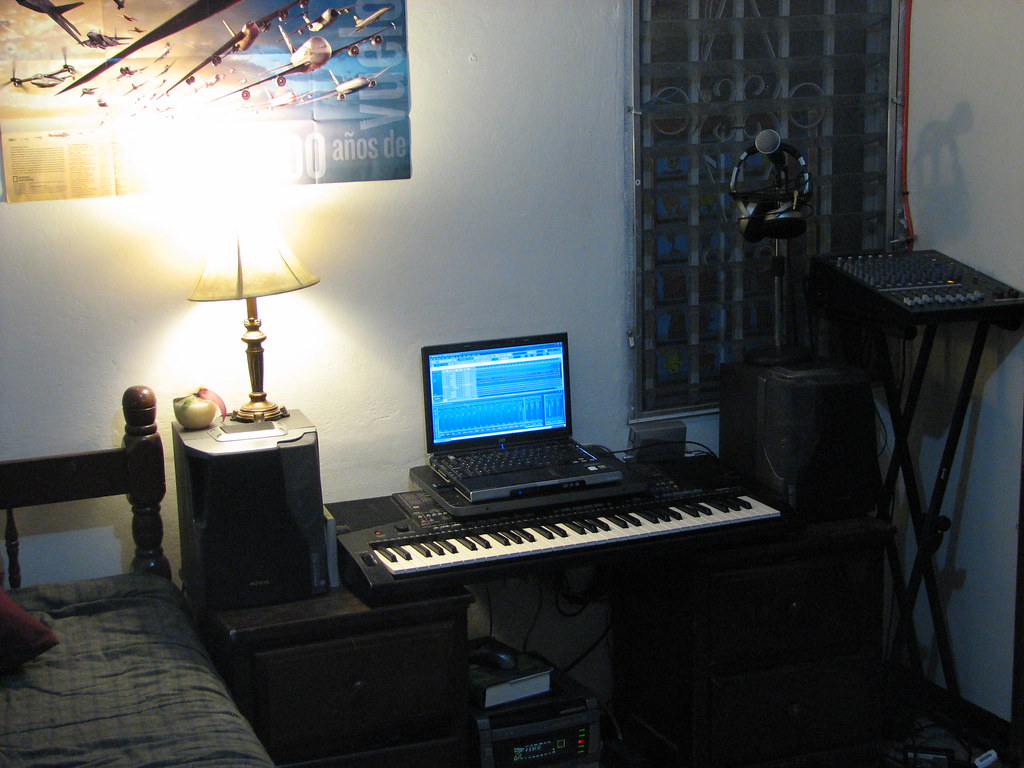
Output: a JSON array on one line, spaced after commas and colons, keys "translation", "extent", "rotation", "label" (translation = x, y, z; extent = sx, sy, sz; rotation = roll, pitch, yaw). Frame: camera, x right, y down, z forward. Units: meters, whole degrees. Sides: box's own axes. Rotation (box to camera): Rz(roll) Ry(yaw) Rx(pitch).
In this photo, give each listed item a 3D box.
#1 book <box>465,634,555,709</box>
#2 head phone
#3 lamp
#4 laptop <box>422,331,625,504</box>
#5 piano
[{"translation": [-0.043, 0.881, 2.863], "extent": [0.247, 0.120, 0.226], "rotation": [8, 18, 41], "label": "book"}, {"translation": [0.857, -0.637, 3.080], "extent": [0.242, 0.335, 0.198], "rotation": [1, 5, 33], "label": "head phone"}, {"translation": [-0.798, -0.185, 2.890], "extent": [0.402, 0.610, 0.402], "rotation": [-3, 12, -2], "label": "lamp"}, {"translation": [0.004, -0.043, 2.950], "extent": [0.616, 0.460, 0.510], "rotation": [-5, 17, -20], "label": "laptop"}, {"translation": [0.111, 0.389, 2.881], "extent": [1.294, 0.199, 0.515], "rotation": [-7, 14, -14], "label": "piano"}]
